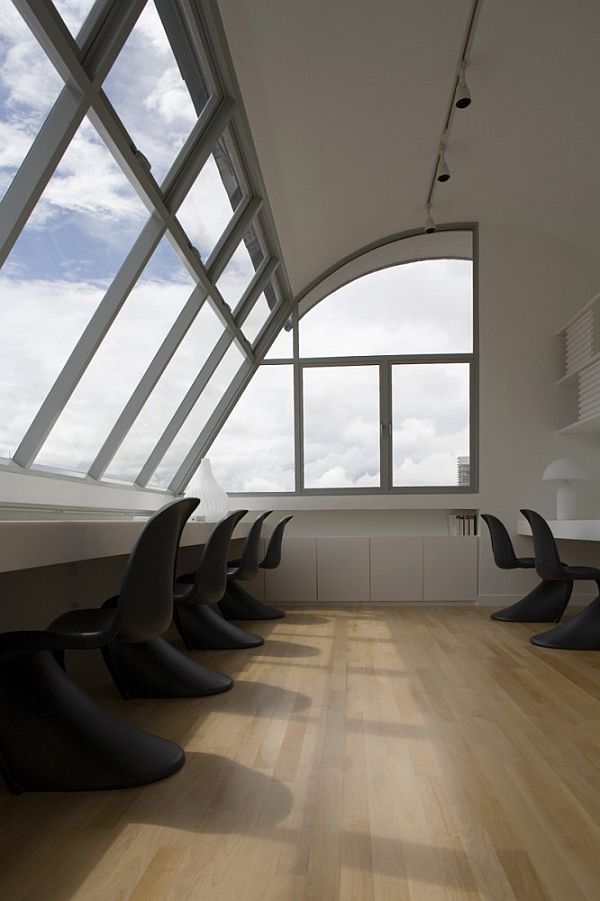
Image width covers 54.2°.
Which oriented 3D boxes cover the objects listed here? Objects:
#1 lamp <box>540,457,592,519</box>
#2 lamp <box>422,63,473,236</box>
[{"bbox_3d":[2.254,0.339,4.859,0.359,0.523,0.374,4,-10,-2],"label":"lamp"},{"bbox_3d":[1.103,-2.238,4.322,0.125,0.910,0.161,9,9,-17],"label":"lamp"}]
